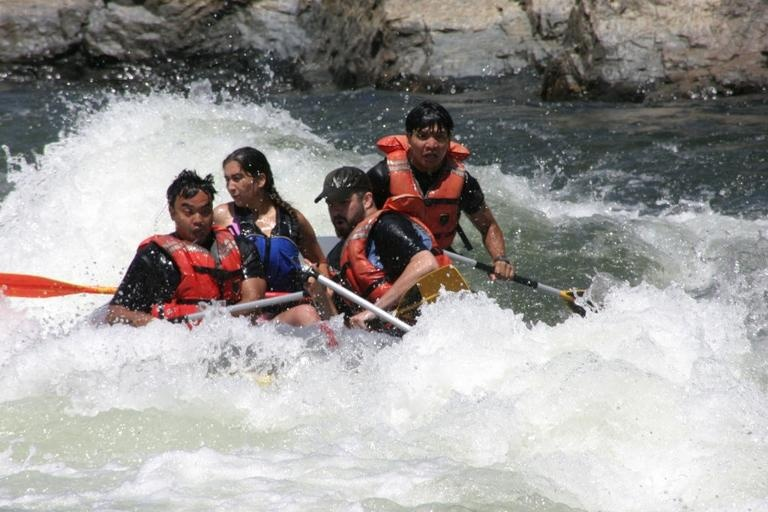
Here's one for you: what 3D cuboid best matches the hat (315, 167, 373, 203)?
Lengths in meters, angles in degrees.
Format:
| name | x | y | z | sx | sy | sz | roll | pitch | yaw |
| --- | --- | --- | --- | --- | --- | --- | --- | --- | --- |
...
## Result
| name | x | y | z | sx | sy | sz | roll | pitch | yaw |
| --- | --- | --- | --- | --- | --- | --- | --- | --- | --- |
| hat | -0.415 | -0.729 | 8.650 | 0.399 | 0.289 | 0.543 | 8 | 17 | 25 |
